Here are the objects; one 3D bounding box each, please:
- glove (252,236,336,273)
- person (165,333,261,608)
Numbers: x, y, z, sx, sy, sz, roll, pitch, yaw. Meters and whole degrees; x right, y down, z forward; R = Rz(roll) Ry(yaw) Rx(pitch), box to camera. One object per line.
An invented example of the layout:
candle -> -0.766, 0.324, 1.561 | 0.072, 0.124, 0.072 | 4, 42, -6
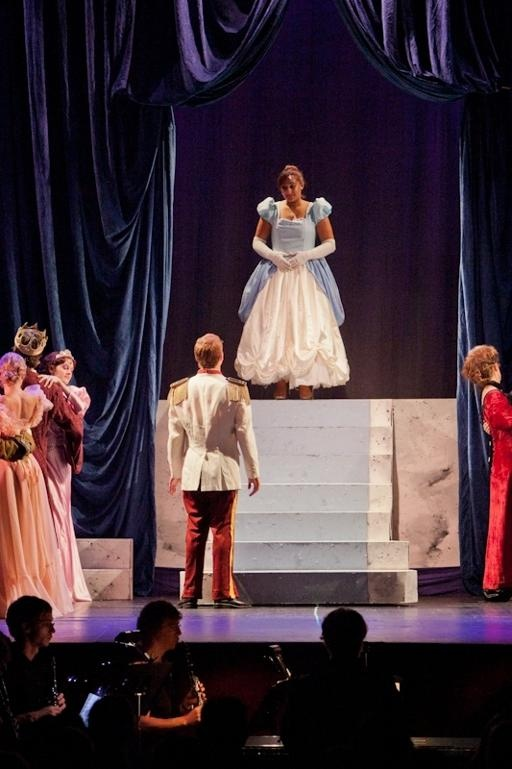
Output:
glove -> 0.219, -0.802, 5.371 | 0.483, 0.201, 0.246 | 2, 4, 4
person -> -0.218, 0.394, 3.979 | 0.446, 1.235, 0.395 | 2, 3, 20
